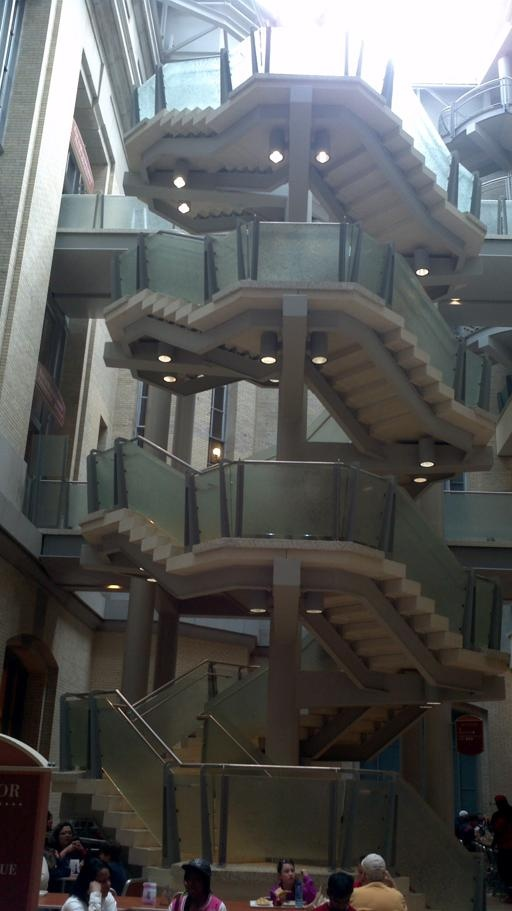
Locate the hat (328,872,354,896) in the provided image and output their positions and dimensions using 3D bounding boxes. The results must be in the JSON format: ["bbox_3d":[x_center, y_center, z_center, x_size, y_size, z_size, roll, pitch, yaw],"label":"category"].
[{"bbox_3d":[0.355,1.804,3.107,0.080,0.109,0.105,7,4,2],"label":"hat"}]
